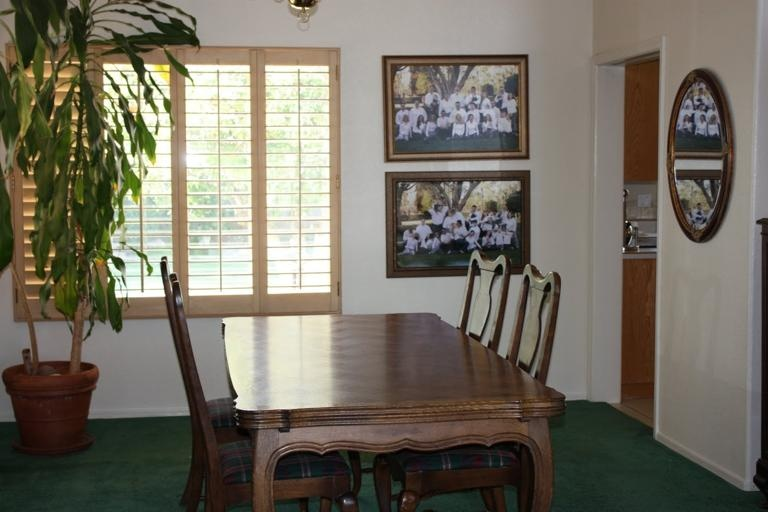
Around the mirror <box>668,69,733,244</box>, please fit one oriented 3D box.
[{"bbox_3d":[2.004,-0.643,3.989,0.146,1.066,0.524,-4,10,-8],"label":"mirror"}]
